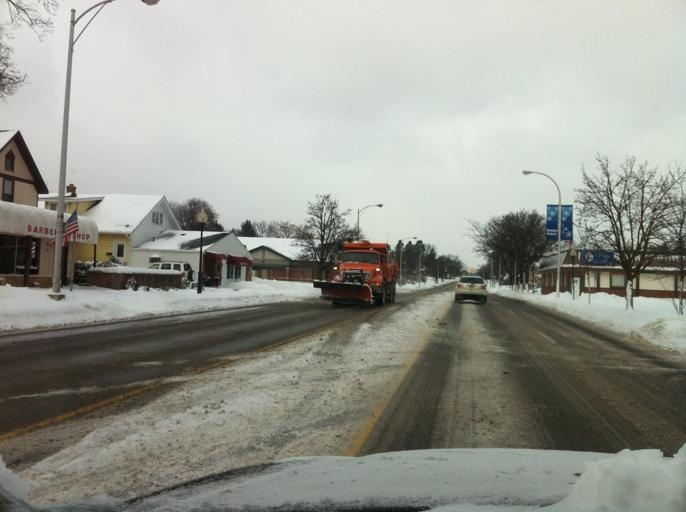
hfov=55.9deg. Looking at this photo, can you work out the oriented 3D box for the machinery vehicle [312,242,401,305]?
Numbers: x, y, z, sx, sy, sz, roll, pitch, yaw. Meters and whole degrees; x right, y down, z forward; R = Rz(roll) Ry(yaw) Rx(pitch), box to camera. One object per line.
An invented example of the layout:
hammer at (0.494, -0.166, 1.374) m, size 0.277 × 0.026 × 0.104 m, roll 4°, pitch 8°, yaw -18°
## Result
machinery vehicle at (1.066, 0.983, 28.946) m, size 1.645 × 2.018 × 5.397 m, roll -1°, pitch -6°, yaw 14°
